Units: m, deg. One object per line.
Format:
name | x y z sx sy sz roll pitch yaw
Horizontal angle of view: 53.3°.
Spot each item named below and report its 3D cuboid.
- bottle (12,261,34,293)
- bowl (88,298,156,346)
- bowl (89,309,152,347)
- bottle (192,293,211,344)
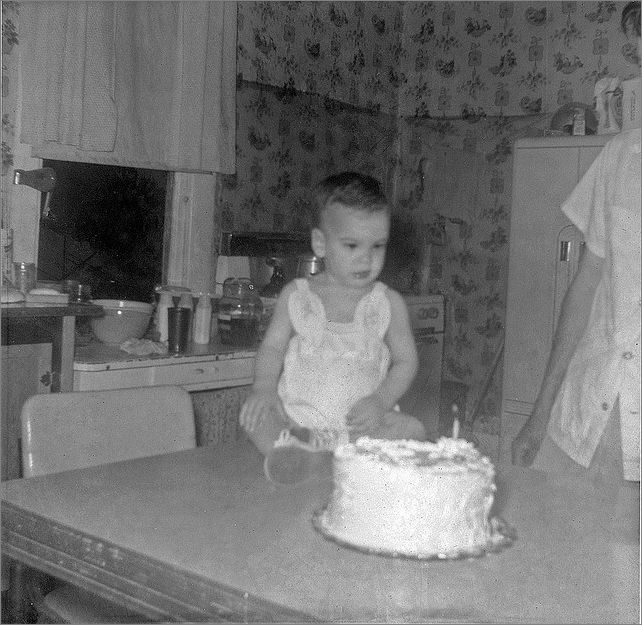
bottle | -0.577 -0.072 1.249 0.043 0.095 0.044 3 4 0
bowl | -0.462 0.017 1.468 0.101 0.072 0.108 1 2 0
bowl | -0.453 0.020 1.440 0.084 0.061 0.094 0 4 17
bottle | -0.284 0.015 1.530 0.046 0.120 0.056 0 5 -11
